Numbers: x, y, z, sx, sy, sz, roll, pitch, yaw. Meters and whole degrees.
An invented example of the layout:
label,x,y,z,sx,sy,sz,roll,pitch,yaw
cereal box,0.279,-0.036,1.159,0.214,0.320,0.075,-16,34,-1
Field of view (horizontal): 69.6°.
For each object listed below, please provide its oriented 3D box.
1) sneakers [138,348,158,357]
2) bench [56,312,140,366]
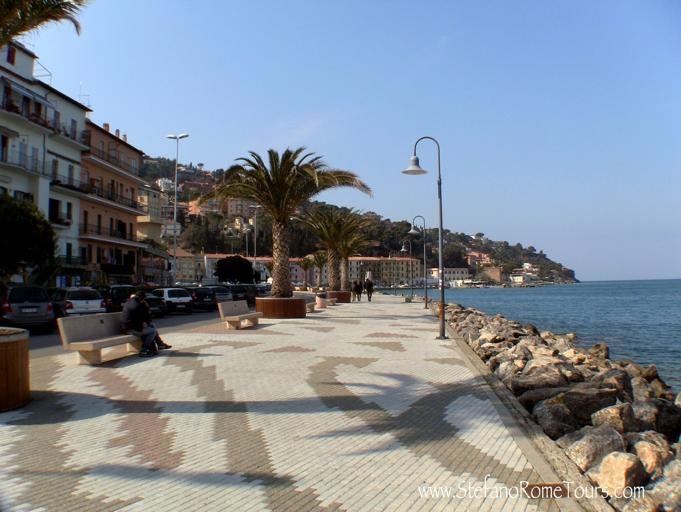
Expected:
label,x,y,z,sx,sy,sz,roll,pitch,yaw
sneakers,-4.872,2.470,12.395,0.481,0.201,0.157,1,-3,-2
bench,-5.610,1.943,11.863,0.862,0.950,2.631,4,-2,5
